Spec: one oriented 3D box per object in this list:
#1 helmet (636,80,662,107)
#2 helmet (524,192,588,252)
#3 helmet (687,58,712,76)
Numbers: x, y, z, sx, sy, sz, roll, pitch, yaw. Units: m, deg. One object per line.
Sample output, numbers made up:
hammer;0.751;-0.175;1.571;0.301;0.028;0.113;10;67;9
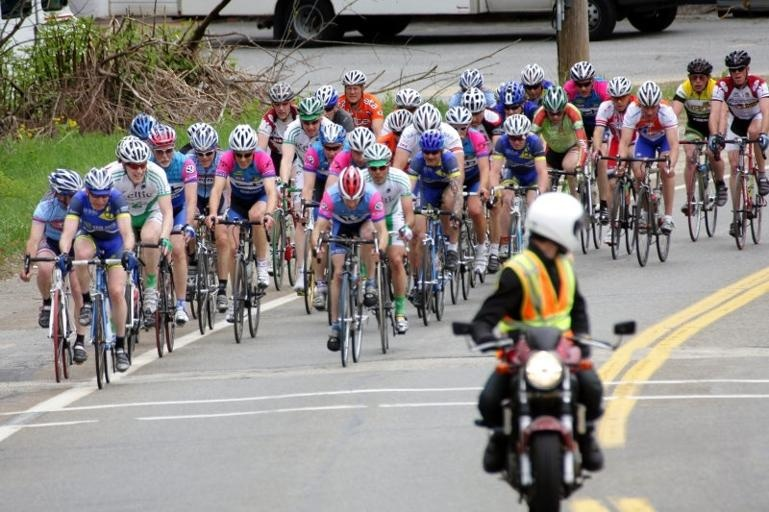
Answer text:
helmet;4.294;-2.597;19.420;0.356;0.283;0.578;1;45;8
helmet;1.489;-0.340;10.323;0.516;0.472;0.397;24;8;7
helmet;5.374;-3.178;20.420;0.408;0.272;0.590;1;8;11
